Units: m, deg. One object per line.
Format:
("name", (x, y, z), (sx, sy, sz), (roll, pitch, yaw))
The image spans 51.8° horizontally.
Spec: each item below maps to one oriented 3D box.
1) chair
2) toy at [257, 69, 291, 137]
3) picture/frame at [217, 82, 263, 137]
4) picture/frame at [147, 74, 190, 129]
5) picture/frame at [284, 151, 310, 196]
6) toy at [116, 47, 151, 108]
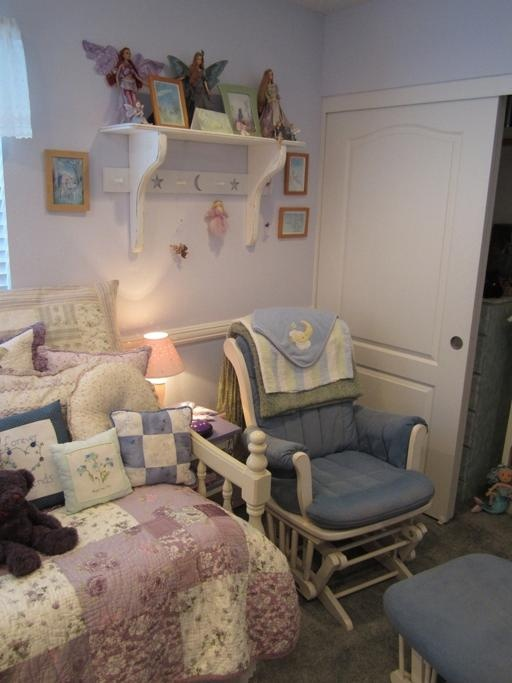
("chair", (0.312, 0.460, 2.319), (0.860, 1.139, 1.004), (-4, 5, -31))
("toy", (0.080, -1.066, 2.379), (0.146, 0.306, 0.166), (10, 18, 32))
("picture/frame", (-0.054, -1.006, 2.298), (0.097, 0.208, 0.220), (11, 19, 35))
("picture/frame", (-0.309, -0.907, 2.018), (0.112, 0.190, 0.251), (6, 16, 22))
("picture/frame", (0.209, -0.887, 2.760), (0.023, 0.234, 0.198), (15, 23, 35))
("toy", (-0.464, -0.983, 1.972), (0.097, 0.213, 0.170), (0, 15, 0))
